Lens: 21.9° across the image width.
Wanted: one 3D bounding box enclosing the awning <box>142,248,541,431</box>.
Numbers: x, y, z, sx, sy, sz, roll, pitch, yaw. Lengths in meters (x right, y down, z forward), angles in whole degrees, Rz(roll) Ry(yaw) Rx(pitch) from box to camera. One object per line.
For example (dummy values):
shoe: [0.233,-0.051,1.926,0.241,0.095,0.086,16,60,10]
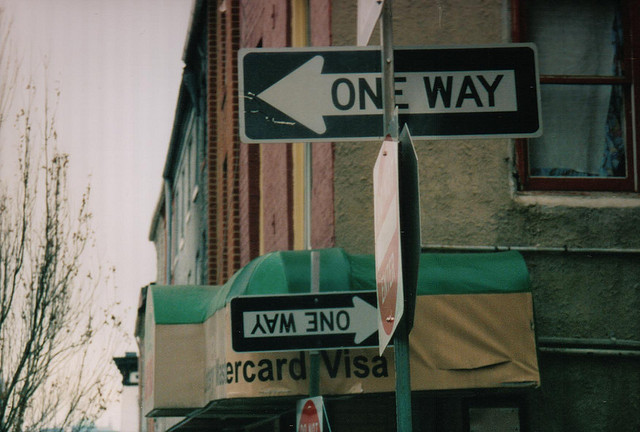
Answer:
awning: [0.315,1.579,22.900,5.492,2.308,2.265,0,-2,15]
